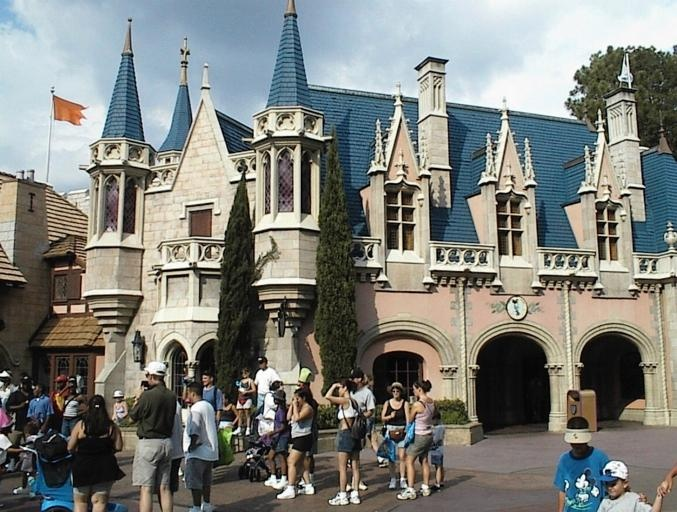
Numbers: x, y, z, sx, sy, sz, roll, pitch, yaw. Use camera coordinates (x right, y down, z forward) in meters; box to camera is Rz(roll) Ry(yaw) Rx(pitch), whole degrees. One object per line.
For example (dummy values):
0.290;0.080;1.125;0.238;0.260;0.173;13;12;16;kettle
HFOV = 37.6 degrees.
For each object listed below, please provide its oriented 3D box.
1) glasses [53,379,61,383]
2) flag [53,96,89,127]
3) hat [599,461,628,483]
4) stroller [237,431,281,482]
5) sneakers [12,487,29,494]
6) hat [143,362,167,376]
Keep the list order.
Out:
-8.068;3.587;28.490;0.192;0.138;0.174;2;-8;-10;glasses
-11.201;-5.921;41.148;1.038;1.086;0.768;-5;-11;28;flag
5.530;4.268;19.806;0.368;0.309;0.535;-2;-13;28;hat
-2.223;5.350;26.171;0.955;1.564;1.309;-2;-14;25;stroller
-8.002;5.905;25.140;0.332;0.156;0.181;3;-20;1;sneakers
-4.190;2.539;22.755;0.425;0.286;0.548;2;2;-21;hat
